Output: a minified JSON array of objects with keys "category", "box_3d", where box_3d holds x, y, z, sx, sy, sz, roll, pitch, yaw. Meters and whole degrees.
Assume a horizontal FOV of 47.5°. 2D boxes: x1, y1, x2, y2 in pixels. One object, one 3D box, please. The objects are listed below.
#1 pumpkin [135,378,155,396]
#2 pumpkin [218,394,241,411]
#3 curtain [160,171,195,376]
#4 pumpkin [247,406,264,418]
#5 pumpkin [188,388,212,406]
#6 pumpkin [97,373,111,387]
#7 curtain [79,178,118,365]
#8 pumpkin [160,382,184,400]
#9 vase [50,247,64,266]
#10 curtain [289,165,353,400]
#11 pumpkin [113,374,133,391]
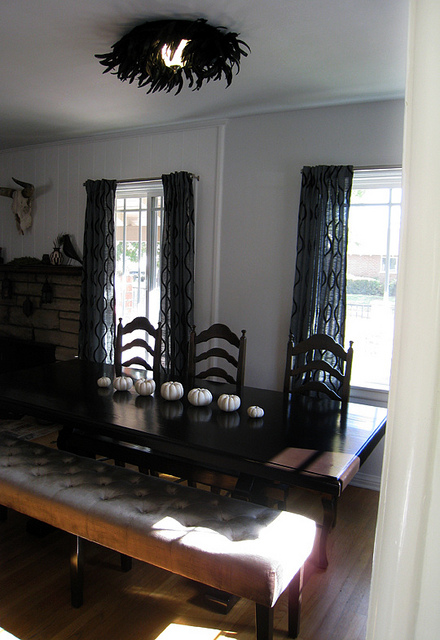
[{"category":"pumpkin","box_3d":[-0.366,0.327,2.474,0.076,0.077,0.078,2,-1,27]},{"category":"pumpkin","box_3d":[0.039,0.370,2.233,0.090,0.061,0.085,-6,11,-45]},{"category":"curtain","box_3d":[-0.328,-0.350,3.796,0.270,1.520,0.247,2,8,5]},{"category":"pumpkin","box_3d":[0.150,0.389,2.112,0.044,0.033,0.045,7,-4,-18]},{"category":"pumpkin","box_3d":[-0.082,0.343,2.274,0.076,0.056,0.078,0,2,-21]},{"category":"pumpkin","box_3d":[-0.600,0.315,2.597,0.045,0.063,0.049,4,4,31]},{"category":"curtain","box_3d":[-1.039,-0.382,4.233,0.339,1.547,0.136,7,9,16]},{"category":"pumpkin","box_3d":[-0.225,0.333,2.351,0.080,0.078,0.084,3,-3,13]},{"category":"vase","box_3d":[-1.464,-0.567,4.518,0.131,0.176,0.142,2,1,-3]},{"category":"curtain","box_3d":[0.644,-0.357,3.329,0.428,1.504,0.057,12,48,18]},{"category":"pumpkin","box_3d":[-0.488,0.318,2.541,0.068,0.070,0.072,3,-2,-16]}]
